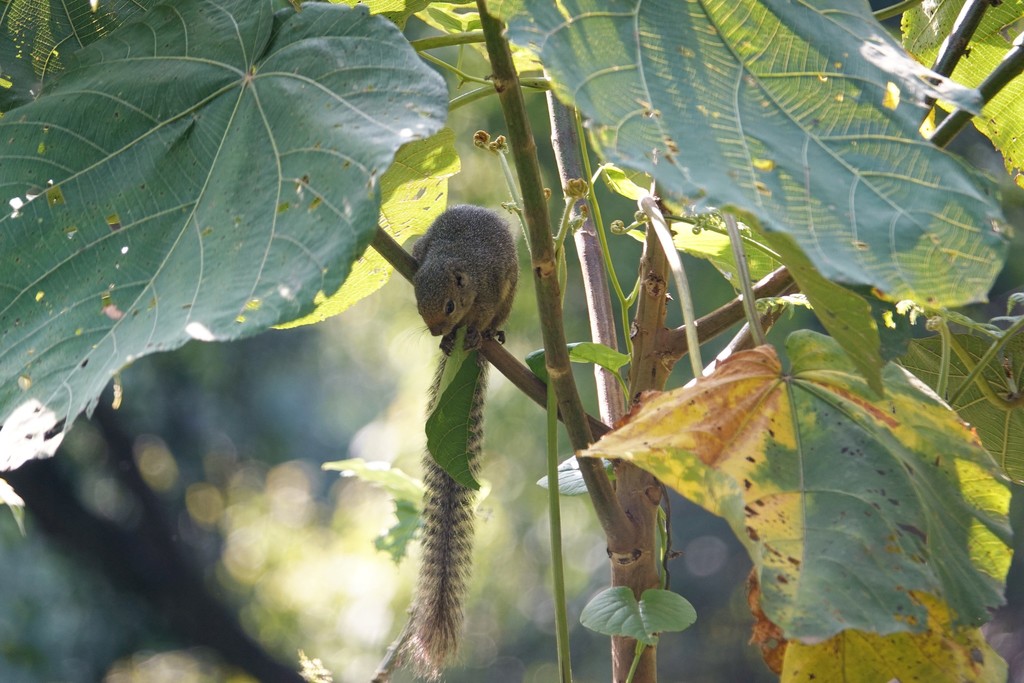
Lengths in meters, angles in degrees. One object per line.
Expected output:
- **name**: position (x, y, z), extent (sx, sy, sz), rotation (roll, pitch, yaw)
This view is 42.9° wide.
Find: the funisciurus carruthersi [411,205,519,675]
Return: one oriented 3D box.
- **funisciurus carruthersi**: position (-0.188, 0.244, 4.867), extent (0.352, 1.763, 0.472), rotation (0, -27, 14)
